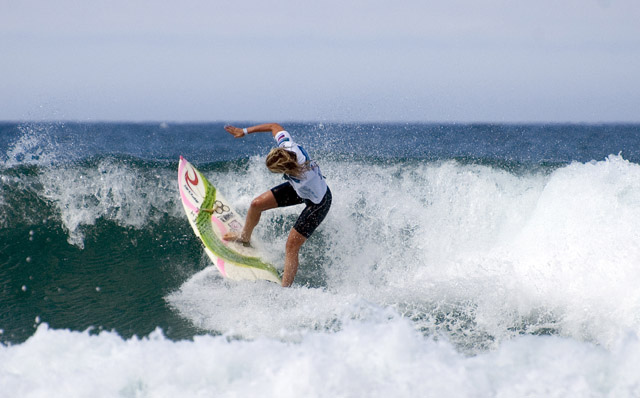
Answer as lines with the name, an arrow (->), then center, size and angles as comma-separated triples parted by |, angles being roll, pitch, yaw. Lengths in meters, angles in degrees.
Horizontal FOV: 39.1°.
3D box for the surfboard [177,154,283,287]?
surfboard -> -2.219, 0.565, 19.948 | 1.056, 0.536, 4.298 | -22, 52, -20
